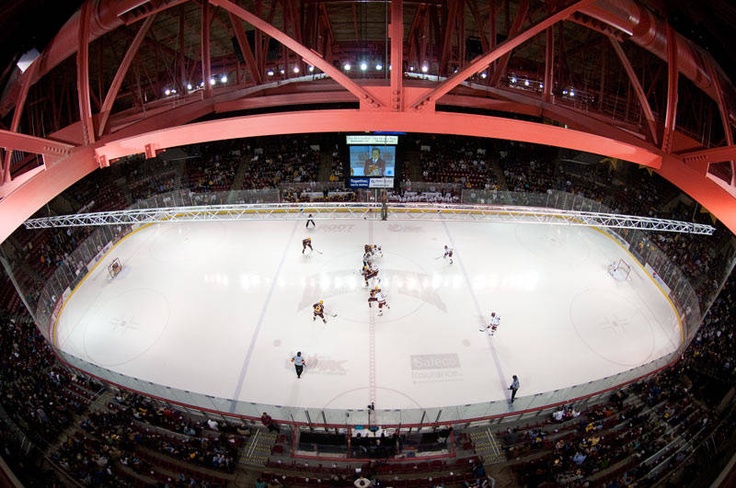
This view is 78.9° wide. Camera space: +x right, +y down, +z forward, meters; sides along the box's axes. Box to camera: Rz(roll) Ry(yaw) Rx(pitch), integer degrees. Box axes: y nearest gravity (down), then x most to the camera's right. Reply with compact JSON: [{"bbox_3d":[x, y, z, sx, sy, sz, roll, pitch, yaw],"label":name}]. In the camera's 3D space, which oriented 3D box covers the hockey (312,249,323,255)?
[{"bbox_3d":[-3.984,0.602,35.068,1.023,0.175,0.340,20,31,36],"label":"hockey"}]
